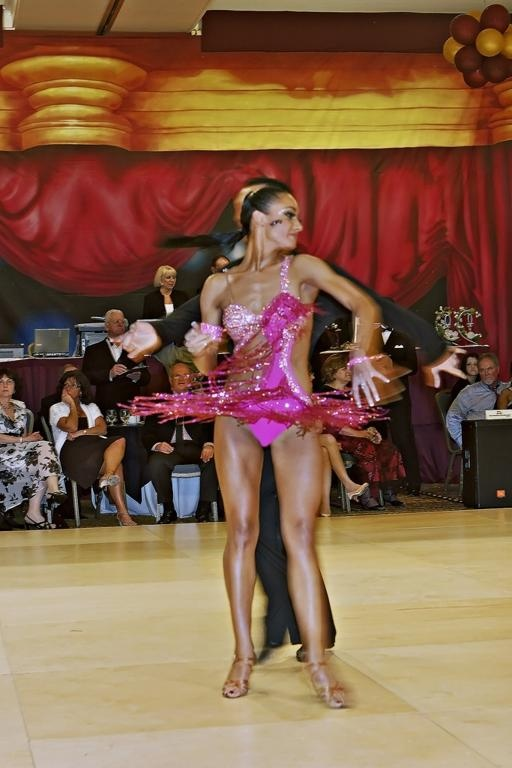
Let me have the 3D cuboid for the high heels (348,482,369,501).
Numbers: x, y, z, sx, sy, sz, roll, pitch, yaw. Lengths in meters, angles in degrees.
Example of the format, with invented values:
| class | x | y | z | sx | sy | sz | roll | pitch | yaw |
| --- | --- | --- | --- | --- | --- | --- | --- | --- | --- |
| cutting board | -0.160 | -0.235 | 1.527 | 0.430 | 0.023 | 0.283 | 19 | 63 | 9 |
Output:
| class | x | y | z | sx | sy | sz | roll | pitch | yaw |
| --- | --- | --- | --- | --- | --- | --- | --- | --- | --- |
| high heels | 0.883 | 0.954 | 5.667 | 0.108 | 0.122 | 0.303 | -16 | -13 | -6 |

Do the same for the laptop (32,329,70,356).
| class | x | y | z | sx | sy | sz | roll | pitch | yaw |
| --- | --- | --- | --- | --- | --- | --- | --- | --- | --- |
| laptop | -2.339 | -0.473 | 7.353 | 0.470 | 0.291 | 0.320 | 0 | 2 | -19 |

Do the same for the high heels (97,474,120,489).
| class | x | y | z | sx | sy | sz | roll | pitch | yaw |
| --- | --- | --- | --- | --- | --- | --- | --- | --- | --- |
| high heels | -1.200 | 0.786 | 5.222 | 0.079 | 0.068 | 0.201 | 4 | -27 | -44 |

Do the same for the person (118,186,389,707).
| class | x | y | z | sx | sy | sz | roll | pitch | yaw |
| --- | --- | --- | --- | --- | --- | --- | --- | --- | --- |
| person | 0.023 | 0.233 | 1.663 | 0.627 | 1.142 | 0.238 | -2 | -4 | 10 |

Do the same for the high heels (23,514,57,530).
| class | x | y | z | sx | sy | sz | roll | pitch | yaw |
| --- | --- | --- | --- | --- | --- | --- | --- | --- | --- |
| high heels | -1.709 | 1.096 | 5.096 | 0.246 | 0.086 | 0.106 | -2 | -2 | 0 |

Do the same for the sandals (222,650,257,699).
| class | x | y | z | sx | sy | sz | roll | pitch | yaw |
| --- | --- | --- | --- | --- | --- | --- | --- | --- | --- |
| sandals | -0.048 | 0.746 | 1.674 | 0.050 | 0.064 | 0.153 | -4 | 15 | 16 |

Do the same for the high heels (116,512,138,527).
| class | x | y | z | sx | sy | sz | roll | pitch | yaw |
| --- | --- | --- | --- | --- | --- | --- | --- | --- | --- |
| high heels | -1.053 | 1.124 | 5.276 | 0.081 | 0.103 | 0.252 | 2 | -6 | -30 |

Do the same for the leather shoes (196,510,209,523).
| class | x | y | z | sx | sy | sz | roll | pitch | yaw |
| --- | --- | --- | --- | --- | --- | --- | --- | --- | --- |
| leather shoes | -0.446 | 1.101 | 5.372 | 0.126 | 0.159 | 0.087 | 1 | -22 | -2 |

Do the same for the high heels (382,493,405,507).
| class | x | y | z | sx | sy | sz | roll | pitch | yaw |
| --- | --- | --- | --- | --- | --- | --- | --- | --- | --- |
| high heels | 1.284 | 1.086 | 6.007 | 0.094 | 0.086 | 0.241 | -1 | -6 | -7 |

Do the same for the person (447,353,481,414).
| class | x | y | z | sx | sy | sz | roll | pitch | yaw |
| --- | --- | --- | --- | --- | --- | --- | --- | --- | --- |
| person | 2.253 | -0.056 | 7.204 | 0.283 | 0.721 | 0.277 | 20 | 41 | 29 |
